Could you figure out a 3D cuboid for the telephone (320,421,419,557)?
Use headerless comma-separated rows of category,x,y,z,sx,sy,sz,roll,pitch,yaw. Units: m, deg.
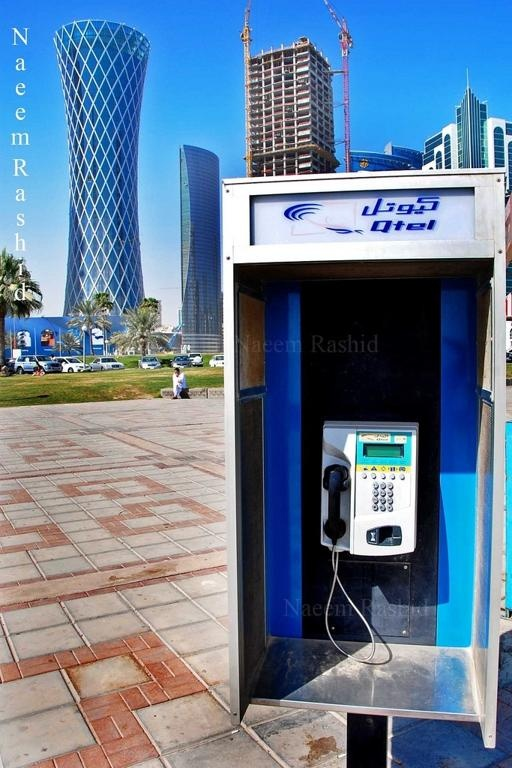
telephone,0.453,0.433,2.899,0.371,0.521,0.095,0,2,7

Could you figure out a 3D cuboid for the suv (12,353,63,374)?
suv,-13.590,-1.060,43.480,2.827,1.444,1.726,-3,2,33
